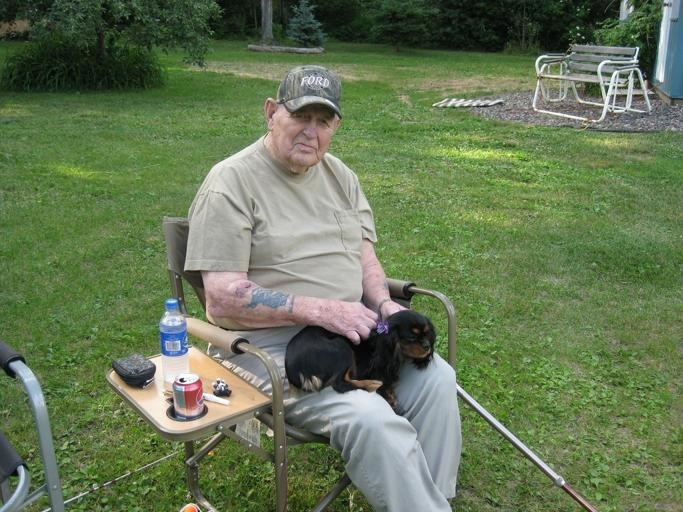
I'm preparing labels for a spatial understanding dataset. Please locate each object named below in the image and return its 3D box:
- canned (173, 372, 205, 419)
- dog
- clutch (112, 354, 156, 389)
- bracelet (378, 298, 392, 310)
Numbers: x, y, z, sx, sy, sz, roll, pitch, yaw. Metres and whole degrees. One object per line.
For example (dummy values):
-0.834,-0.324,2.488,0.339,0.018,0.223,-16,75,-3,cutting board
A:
-0.632,0.583,2.363,0.113,0.214,0.125,-1,23,-8,canned
0.120,0.439,2.777,0.654,0.459,0.462,7,9,20,dog
-0.941,0.499,2.574,0.148,0.064,0.131,21,23,38,clutch
0.226,0.243,3.009,0.058,0.022,0.042,-45,32,-11,bracelet
